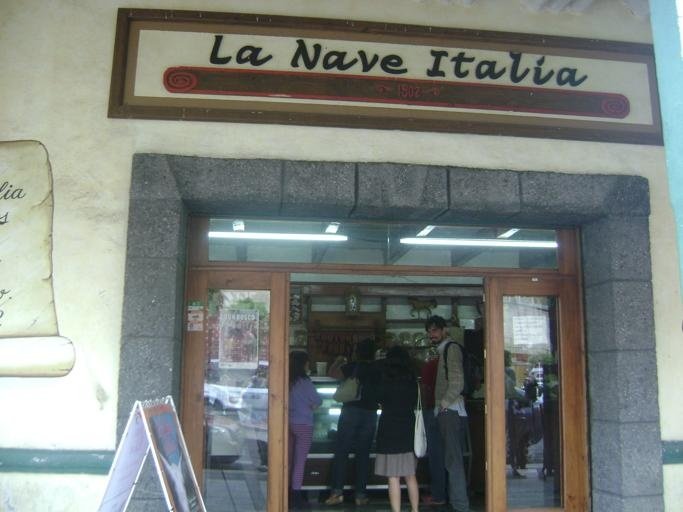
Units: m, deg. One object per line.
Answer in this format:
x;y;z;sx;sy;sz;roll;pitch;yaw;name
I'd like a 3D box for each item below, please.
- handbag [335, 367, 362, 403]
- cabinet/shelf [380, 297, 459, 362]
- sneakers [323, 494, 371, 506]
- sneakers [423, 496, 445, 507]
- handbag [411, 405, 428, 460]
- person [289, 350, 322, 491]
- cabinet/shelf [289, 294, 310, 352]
0.084;1.550;7.568;0.155;0.481;0.491;10;-14;-29;handbag
1.210;1.165;10.584;1.120;1.015;0.353;1;11;5;cabinet/shelf
0.065;2.851;7.424;0.514;0.207;0.168;5;-22;-3;sneakers
1.096;2.917;7.549;0.248;0.094;0.096;1;-7;7;sneakers
0.850;1.933;6.966;0.122;0.515;0.260;-1;-9;6;handbag
-0.427;1.896;7.236;0.343;1.619;0.544;0;-9;-4;person
-0.651;1.010;9.775;0.293;0.850;0.776;0;-9;-4;cabinet/shelf
